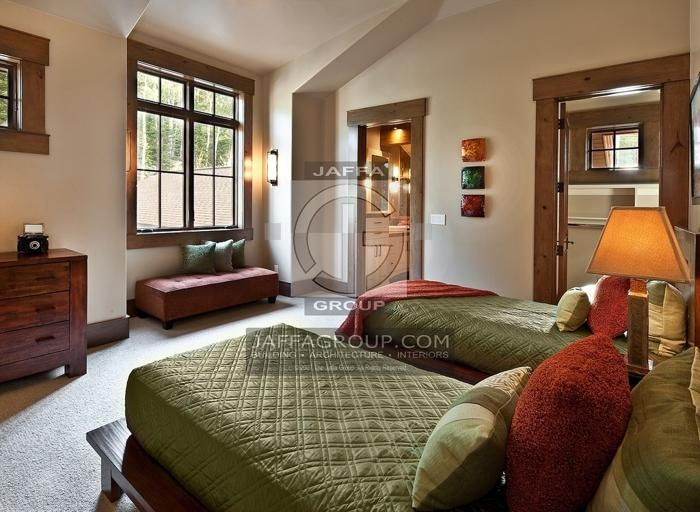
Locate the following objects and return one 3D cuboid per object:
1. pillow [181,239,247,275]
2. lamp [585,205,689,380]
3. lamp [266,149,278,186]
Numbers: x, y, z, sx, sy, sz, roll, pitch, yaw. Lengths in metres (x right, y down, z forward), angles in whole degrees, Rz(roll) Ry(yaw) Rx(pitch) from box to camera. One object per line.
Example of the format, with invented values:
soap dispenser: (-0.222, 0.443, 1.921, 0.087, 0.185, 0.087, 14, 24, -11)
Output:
pillow: (-1.710, 0.015, 5.494, 0.467, 0.177, 0.467, -10, 16, -23)
lamp: (1.524, 0.157, 2.349, 0.437, 0.839, 0.250, 13, 18, 35)
lamp: (-1.087, -1.242, 6.205, 0.212, 0.507, 0.089, 9, 16, 23)
